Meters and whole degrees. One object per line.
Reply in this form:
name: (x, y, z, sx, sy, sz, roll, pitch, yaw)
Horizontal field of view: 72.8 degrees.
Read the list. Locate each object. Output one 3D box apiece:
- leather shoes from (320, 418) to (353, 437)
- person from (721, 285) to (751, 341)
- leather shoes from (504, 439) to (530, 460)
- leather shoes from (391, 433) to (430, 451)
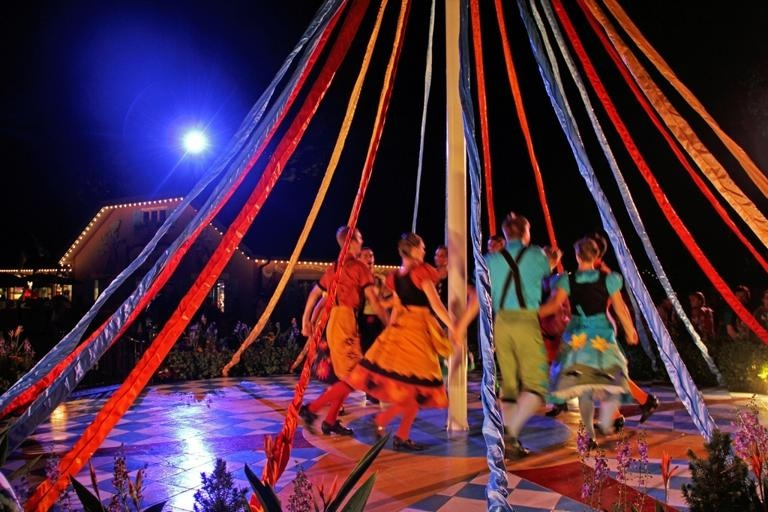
leather shoes: (-0.555, 1.979, 5.994, 0.417, 0.191, 0.146, 2, -10, -4)
person: (5.867, 0.986, 8.749, 0.406, 0.464, 1.212, -12, -31, 34)
leather shoes: (1.292, 1.941, 5.175, 0.177, 0.153, 0.404, -11, -38, 25)
leather shoes: (0.259, 1.963, 5.521, 0.415, 0.191, 0.141, -1, -8, -3)
